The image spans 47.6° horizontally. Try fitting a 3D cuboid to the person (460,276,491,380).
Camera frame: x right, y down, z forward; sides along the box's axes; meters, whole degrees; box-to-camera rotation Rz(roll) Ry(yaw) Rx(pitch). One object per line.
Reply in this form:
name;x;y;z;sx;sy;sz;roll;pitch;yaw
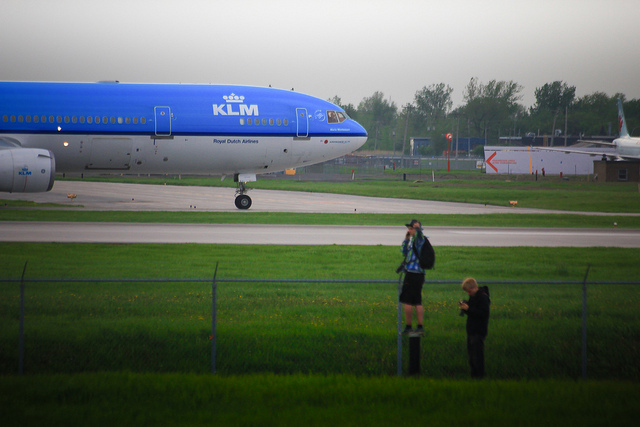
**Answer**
person;4.748;3.606;22.286;0.812;3.235;0.673;1;4;10
